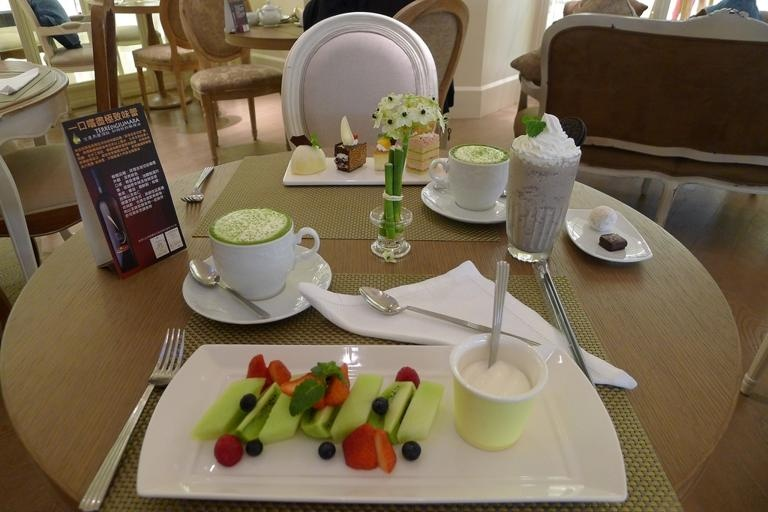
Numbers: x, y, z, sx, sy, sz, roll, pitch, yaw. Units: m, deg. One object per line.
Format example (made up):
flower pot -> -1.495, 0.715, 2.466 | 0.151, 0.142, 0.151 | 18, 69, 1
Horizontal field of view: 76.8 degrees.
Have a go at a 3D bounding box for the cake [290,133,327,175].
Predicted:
cake -> -0.246, -0.317, 1.619 | 0.128, 0.135, 0.126 | -6, 29, -7

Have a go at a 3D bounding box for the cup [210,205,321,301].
cup -> -0.288, -0.013, 1.148 | 0.249, 0.175, 0.193 | -7, 30, -13

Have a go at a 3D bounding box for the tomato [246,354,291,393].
tomato -> -0.220, 0.227, 0.927 | 0.097, 0.049, 0.076 | -1, -2, -18

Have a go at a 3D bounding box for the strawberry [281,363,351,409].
strawberry -> -0.117, 0.221, 0.856 | 0.092, 0.046, 0.088 | 0, 40, -18

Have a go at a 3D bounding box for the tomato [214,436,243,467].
tomato -> -0.260, 0.326, 0.812 | 0.046, 0.049, 0.023 | -17, -8, -20

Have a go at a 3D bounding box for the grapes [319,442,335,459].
grapes -> -0.097, 0.329, 0.820 | 0.024, 0.026, 0.014 | 21, -3, 11

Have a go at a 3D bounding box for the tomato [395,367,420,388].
tomato -> 0.044, 0.224, 0.905 | 0.030, 0.023, 0.040 | 0, 44, -5

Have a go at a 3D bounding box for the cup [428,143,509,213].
cup -> 0.245, -0.236, 1.383 | 0.153, 0.214, 0.178 | -17, 30, -40

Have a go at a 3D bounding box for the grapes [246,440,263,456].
grapes -> -0.220, 0.325, 0.821 | 0.020, 0.029, 0.023 | -11, 40, 38

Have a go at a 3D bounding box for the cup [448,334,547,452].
cup -> 0.183, 0.230, 0.879 | 0.173, 0.146, 0.186 | -1, 39, 1

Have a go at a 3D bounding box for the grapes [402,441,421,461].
grapes -> 0.045, 0.331, 0.822 | 0.027, 0.015, 0.030 | -3, 70, 5

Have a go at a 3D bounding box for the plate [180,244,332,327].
plate -> -0.317, 0.003, 1.143 | 0.251, 0.162, 0.331 | 12, 22, 34

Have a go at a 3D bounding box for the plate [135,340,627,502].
plate -> -0.004, 0.284, 0.865 | 0.798, 0.077, 0.273 | 0, 37, 0

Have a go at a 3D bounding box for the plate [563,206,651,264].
plate -> 0.574, -0.052, 1.284 | 0.177, 0.152, 0.221 | -5, 23, -16
